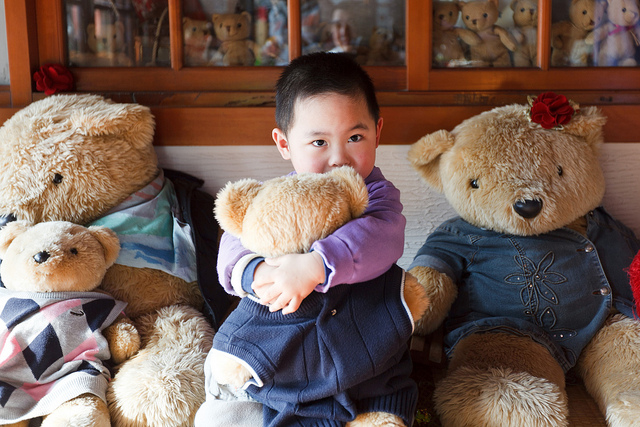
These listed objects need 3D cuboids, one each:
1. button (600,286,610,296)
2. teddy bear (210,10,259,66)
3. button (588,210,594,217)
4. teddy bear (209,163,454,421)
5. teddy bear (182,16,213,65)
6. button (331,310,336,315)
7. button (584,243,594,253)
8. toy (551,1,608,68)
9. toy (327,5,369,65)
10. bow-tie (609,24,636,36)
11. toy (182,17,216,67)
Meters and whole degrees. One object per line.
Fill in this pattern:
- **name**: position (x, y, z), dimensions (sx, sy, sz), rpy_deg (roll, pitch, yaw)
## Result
- **button**: position (0.860, 0.235, 1.734), dimensions (0.025, 0.025, 0.015), rpy_deg (-36, -7, 7)
- **teddy bear**: position (-0.305, -0.618, 2.015), dimensions (0.176, 0.193, 0.127), rpy_deg (-6, 23, -5)
- **button**: position (0.860, 0.000, 1.819), dimensions (0.016, 0.022, 0.008), rpy_deg (-10, -6, -2)
- **teddy bear**: position (0.025, 0.235, 1.498), dimensions (0.567, 0.559, 0.363), rpy_deg (-15, 17, -5)
- **teddy bear**: position (-0.436, -0.601, 2.001), dimensions (0.126, 0.160, 0.108), rpy_deg (-9, 21, -38)
- **button**: position (0.033, 0.252, 1.454), dimensions (0.013, 0.012, 0.004), rpy_deg (0, -7, -3)
- **button**: position (0.825, 0.108, 1.758), dimensions (0.026, 0.026, 0.007), rpy_deg (-3, -14, 11)
- **toy**: position (0.873, -0.617, 1.931), dimensions (0.182, 0.243, 0.141), rpy_deg (5, 11, -13)
- **toy**: position (0.106, -0.675, 2.082), dimensions (0.156, 0.170, 0.093), rpy_deg (5, 16, 18)
- **bow-tie**: position (1.017, -0.622, 1.930), dimensions (0.087, 0.034, 0.009), rpy_deg (-2, 16, -6)
- **toy**: position (-0.440, -0.602, 1.995), dimensions (0.112, 0.161, 0.141), rpy_deg (20, 22, 39)
